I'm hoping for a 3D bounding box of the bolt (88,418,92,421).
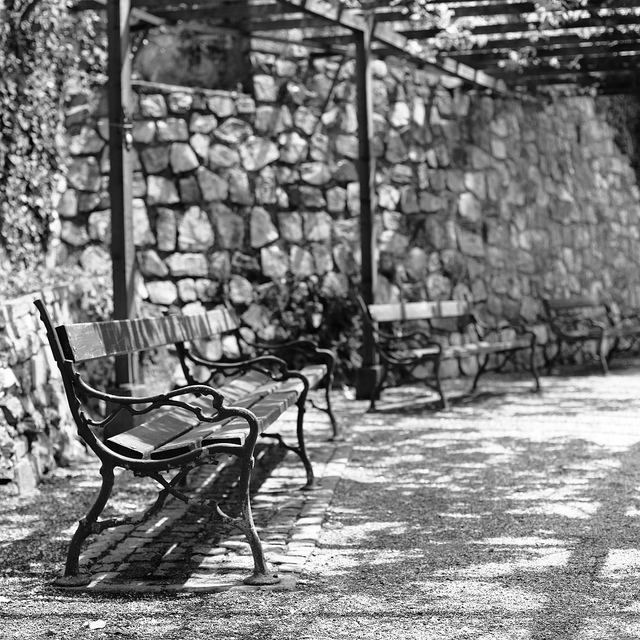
[{"bbox_3d":[-1.110,0.477,6.689,0.017,0.018,0.018,2,0,-7],"label":"bolt"}]

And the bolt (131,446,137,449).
[{"bbox_3d":[-0.898,0.609,6.715,0.022,0.010,0.037,6,11,38],"label":"bolt"}]

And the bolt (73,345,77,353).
[{"bbox_3d":[-1.189,0.139,6.737,0.010,0.035,0.039,0,9,8],"label":"bolt"}]
